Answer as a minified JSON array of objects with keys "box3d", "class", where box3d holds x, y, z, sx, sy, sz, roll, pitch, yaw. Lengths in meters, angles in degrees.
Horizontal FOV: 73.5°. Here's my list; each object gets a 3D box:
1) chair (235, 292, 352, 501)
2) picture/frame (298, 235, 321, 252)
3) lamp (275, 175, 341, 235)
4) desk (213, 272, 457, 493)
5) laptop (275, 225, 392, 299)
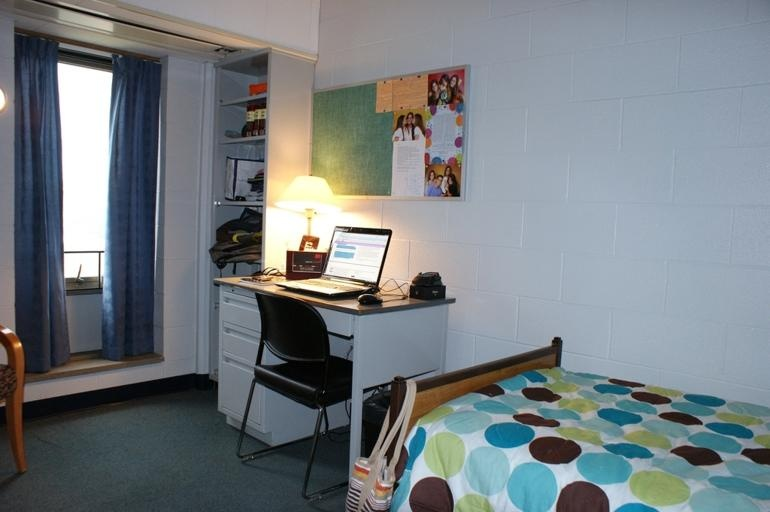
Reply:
[{"box3d":[-0.522,0.752,3.151,0.747,1.147,0.446,11,14,36],"class":"chair"},{"box3d":[-0.563,-0.089,3.809,0.139,0.134,0.037,-1,-2,-3],"class":"picture/frame"},{"box3d":[-0.569,-0.367,3.851,0.457,0.451,0.460,-1,9,-16],"class":"lamp"},{"box3d":[-0.409,0.614,3.618,1.074,1.343,1.893,-1,5,-42],"class":"desk"},{"box3d":[-0.315,0.034,3.426,0.585,0.385,0.535,5,4,43],"class":"laptop"}]
